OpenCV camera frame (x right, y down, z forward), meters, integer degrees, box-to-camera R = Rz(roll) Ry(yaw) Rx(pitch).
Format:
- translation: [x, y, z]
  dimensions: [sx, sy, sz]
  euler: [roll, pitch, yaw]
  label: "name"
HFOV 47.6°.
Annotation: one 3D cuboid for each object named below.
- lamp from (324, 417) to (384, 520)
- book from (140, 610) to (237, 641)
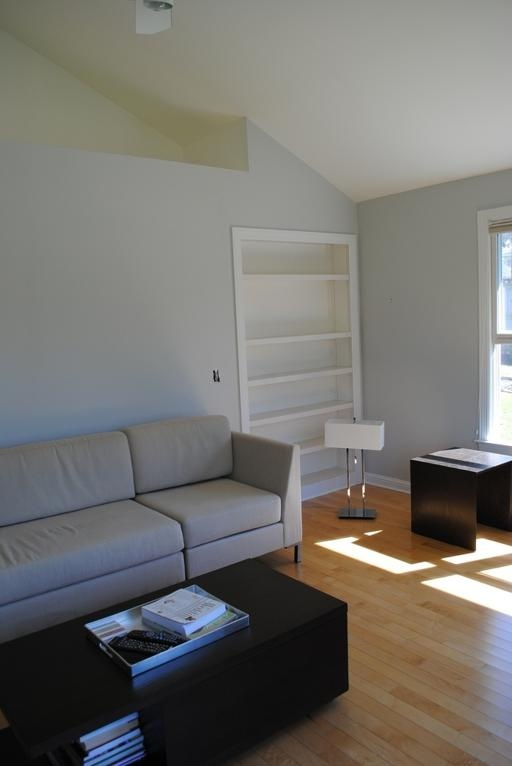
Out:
- translation: [0.690, 0.555, 4.095]
  dimensions: [0.369, 0.660, 0.941]
  euler: [-3, 4, 9]
  label: "lamp"
- translation: [-0.178, 0.699, 1.706]
  dimensions: [0.124, 0.030, 0.128]
  euler: [2, 4, 41]
  label: "book"
